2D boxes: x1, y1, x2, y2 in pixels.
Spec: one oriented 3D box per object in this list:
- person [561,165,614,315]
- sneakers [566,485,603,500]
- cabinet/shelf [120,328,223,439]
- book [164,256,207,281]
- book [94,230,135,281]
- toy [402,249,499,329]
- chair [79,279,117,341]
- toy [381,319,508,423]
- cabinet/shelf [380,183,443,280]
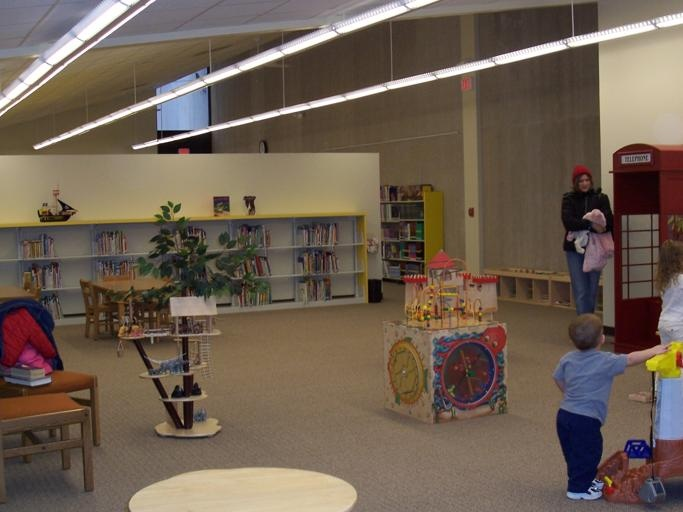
[{"bbox_3d":[3.385,-0.215,7.991,0.676,2.081,0.534,0,4,37],"label":"person"},{"bbox_3d":[1.726,1.685,4.151,0.235,0.120,0.092,-5,2,6],"label":"sneakers"},{"bbox_3d":[-1.614,1.232,5.568,0.845,0.901,0.504,-3,1,8],"label":"cabinet/shelf"},{"bbox_3d":[-1.428,0.109,5.457,0.329,0.227,0.285,-3,3,-9],"label":"book"},{"bbox_3d":[-4.398,-0.043,11.347,0.894,0.937,0.643,-2,3,5],"label":"book"},{"bbox_3d":[1.119,0.289,5.993,0.882,0.702,0.671,-5,6,-20],"label":"toy"},{"bbox_3d":[-4.057,0.863,9.880,0.691,0.971,0.673,-2,4,-20],"label":"chair"},{"bbox_3d":[1.049,1.150,6.020,1.062,0.903,1.084,-3,-1,-33],"label":"toy"},{"bbox_3d":[1.690,-0.654,13.716,0.763,2.879,2.382,-1,0,-21],"label":"cabinet/shelf"}]
